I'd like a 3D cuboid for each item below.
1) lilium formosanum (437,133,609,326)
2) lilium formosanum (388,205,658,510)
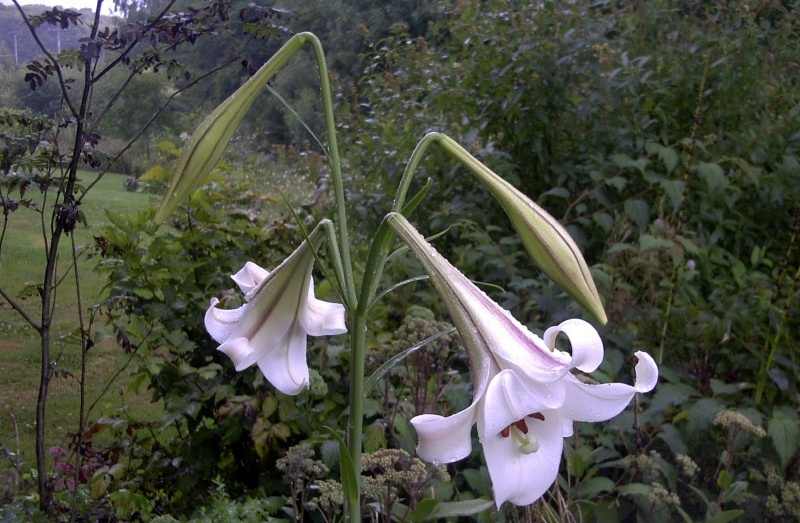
[{"bbox_3d":[0.695,-0.173,3.682,1.352,0.271,0.227,46,-21,4],"label":"lilium formosanum"},{"bbox_3d":[0.314,0.315,2.609,0.754,0.569,1.057,-18,41,-19],"label":"lilium formosanum"}]
